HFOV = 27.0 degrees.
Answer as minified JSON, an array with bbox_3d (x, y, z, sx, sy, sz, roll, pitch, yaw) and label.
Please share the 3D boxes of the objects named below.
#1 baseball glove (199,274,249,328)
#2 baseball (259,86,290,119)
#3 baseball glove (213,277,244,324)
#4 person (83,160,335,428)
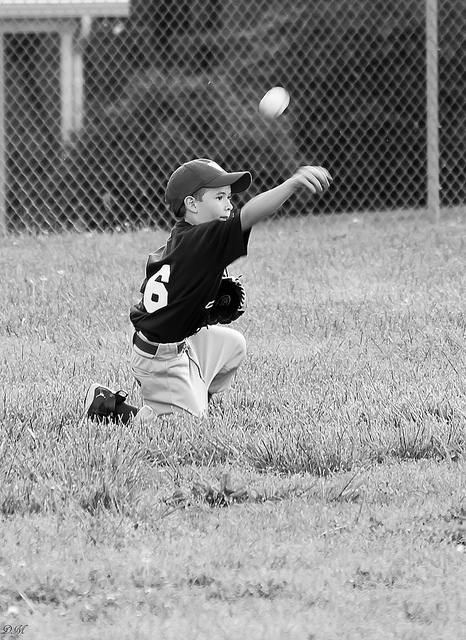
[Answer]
[{"bbox_3d":[-0.030,-0.054,3.023,0.132,0.177,0.262,4,9,-2],"label":"baseball glove"},{"bbox_3d":[0.143,-0.746,3.327,0.094,0.114,0.178,5,9,1],"label":"baseball"},{"bbox_3d":[-0.008,-0.055,2.957,0.098,0.135,0.049,2,17,2],"label":"baseball glove"},{"bbox_3d":[-0.035,-0.057,2.880,0.770,0.849,0.411,15,19,40],"label":"person"}]
